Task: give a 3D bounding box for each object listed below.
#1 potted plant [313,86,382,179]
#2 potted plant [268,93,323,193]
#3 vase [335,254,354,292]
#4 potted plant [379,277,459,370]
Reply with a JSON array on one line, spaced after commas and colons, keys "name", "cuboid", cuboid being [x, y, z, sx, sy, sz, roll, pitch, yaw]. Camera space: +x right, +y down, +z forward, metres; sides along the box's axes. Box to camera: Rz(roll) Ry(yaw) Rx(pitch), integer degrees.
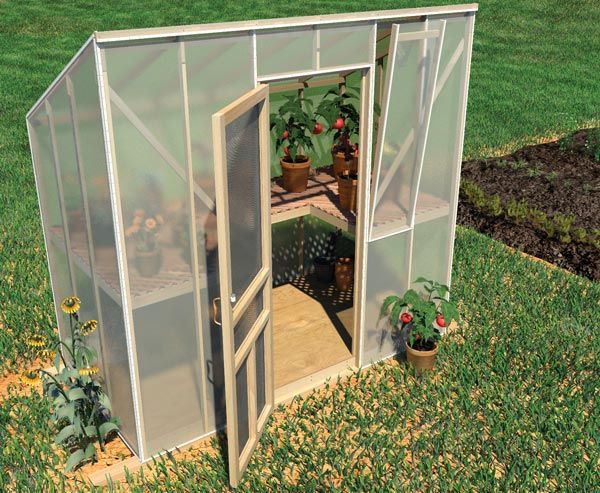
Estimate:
[{"name": "potted plant", "cuboid": [0.416, -1.007, 5.217, 0.545, 0.759, 0.487, -7, 8, -37]}, {"name": "potted plant", "cuboid": [-0.009, -0.925, 5.232, 0.440, 0.775, 0.549, -10, 14, -21]}, {"name": "vase", "cuboid": [0.466, 0.280, 5.936, 0.194, 0.258, 0.311, 1, 29, 3]}, {"name": "potted plant", "cuboid": [0.987, 0.678, 4.833, 0.646, 0.840, 0.715, 3, -8, 7]}]
